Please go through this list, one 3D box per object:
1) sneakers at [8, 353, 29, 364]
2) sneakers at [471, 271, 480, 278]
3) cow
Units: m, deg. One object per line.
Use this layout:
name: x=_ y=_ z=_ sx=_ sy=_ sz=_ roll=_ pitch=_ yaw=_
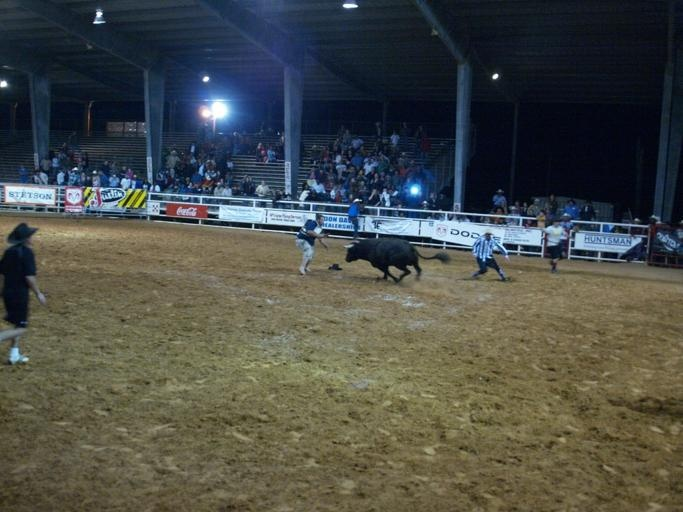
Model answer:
sneakers: x=-5.385 y=1.699 z=11.098 sx=0.189 sy=0.146 sz=0.311 roll=15 pitch=18 yaw=38
sneakers: x=4.021 y=0.562 z=19.994 sx=0.108 sy=0.124 sz=0.420 roll=15 pitch=10 yaw=27
cow: x=1.213 y=0.082 z=18.428 sx=1.914 sy=1.207 sz=0.864 roll=8 pitch=15 yaw=18
